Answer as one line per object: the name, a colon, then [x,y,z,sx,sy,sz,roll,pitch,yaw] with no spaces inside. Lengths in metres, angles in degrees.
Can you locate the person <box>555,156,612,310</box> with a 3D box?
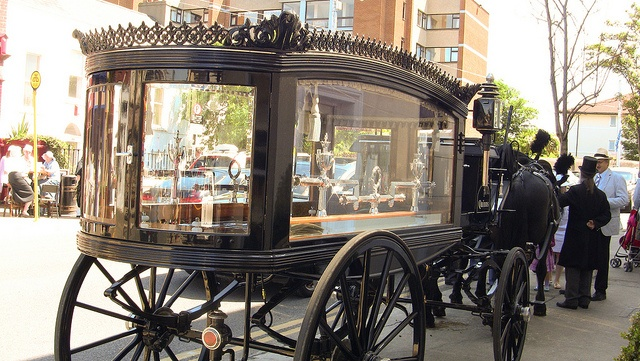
person: [5.293,1.050,11.417,1.222,2.891,1.012,5,2,24]

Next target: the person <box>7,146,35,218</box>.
person: [-9.042,0.011,16.822,0.759,2.110,0.919,1,1,-30]

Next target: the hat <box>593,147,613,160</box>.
hat: [6.260,-0.581,12.454,0.411,0.173,0.463,1,0,17]

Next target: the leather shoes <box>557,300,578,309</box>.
leather shoes: [4.836,2.378,11.021,0.397,0.166,0.151,4,2,38]

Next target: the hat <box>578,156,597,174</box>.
hat: [5.282,-0.307,11.014,0.267,0.199,0.354,4,7,12]

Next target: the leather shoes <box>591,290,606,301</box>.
leather shoes: [5.739,2.358,11.536,0.415,0.169,0.148,6,-7,-26]
